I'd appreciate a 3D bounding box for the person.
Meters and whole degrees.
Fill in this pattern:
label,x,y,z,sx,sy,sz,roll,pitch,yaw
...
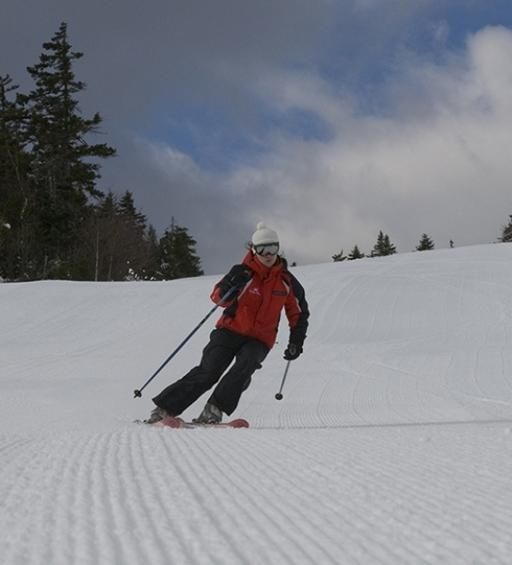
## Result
label,x,y,z,sx,sy,sz,roll,pitch,yaw
person,-0.171,0.281,4.755,0.631,1.558,1.396,1,-1,36

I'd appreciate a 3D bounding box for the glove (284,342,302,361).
label,x,y,z,sx,sy,sz,roll,pitch,yaw
glove,0.308,0.604,5.149,0.178,0.119,0.057,-8,25,-1

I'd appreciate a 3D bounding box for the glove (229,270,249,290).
label,x,y,z,sx,sy,sz,roll,pitch,yaw
glove,-0.124,-0.017,4.642,0.148,0.149,0.114,1,-1,14

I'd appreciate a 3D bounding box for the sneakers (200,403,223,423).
label,x,y,z,sx,sy,sz,roll,pitch,yaw
sneakers,-0.350,0.992,4.370,0.129,0.113,0.152,26,-15,-27

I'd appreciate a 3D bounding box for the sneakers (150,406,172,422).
label,x,y,z,sx,sy,sz,roll,pitch,yaw
sneakers,-0.729,0.978,4.329,0.134,0.048,0.115,-18,53,-44
